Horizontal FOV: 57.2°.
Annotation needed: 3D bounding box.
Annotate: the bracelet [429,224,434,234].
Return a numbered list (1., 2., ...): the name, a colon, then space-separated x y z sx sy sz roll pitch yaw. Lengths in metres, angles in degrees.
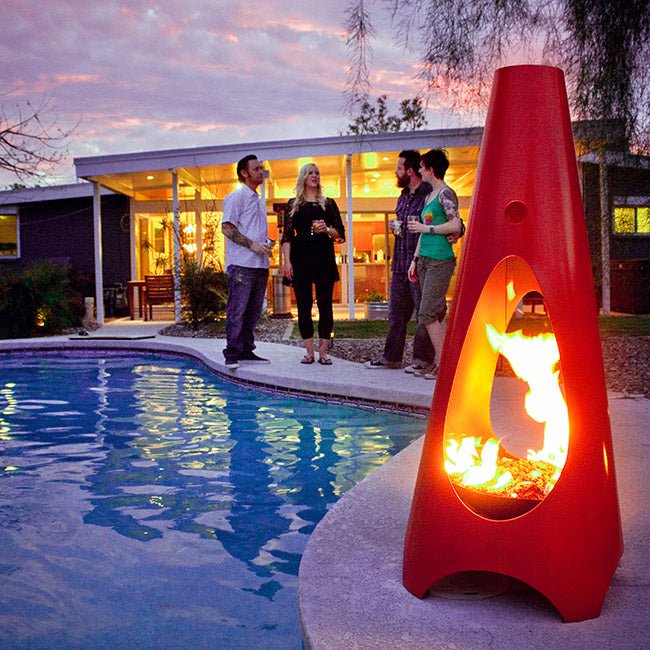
1. bracelet: 0.724 -0.652 4.034 0.032 0.041 0.047 0 -7 8

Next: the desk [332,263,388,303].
1. desk: 0.899 -1.008 13.909 1.331 1.163 0.662 0 2 -4

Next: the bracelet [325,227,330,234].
1. bracelet: 0.028 -0.779 4.935 0.035 0.033 0.030 2 1 9

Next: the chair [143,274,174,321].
1. chair: -3.600 -0.581 12.854 0.577 0.978 2.001 -2 3 -17

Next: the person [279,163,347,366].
1. person: -0.093 -0.492 5.096 0.534 1.694 0.421 -1 3 -4

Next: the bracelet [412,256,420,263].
1. bracelet: 0.660 -0.474 4.292 0.038 0.041 0.043 1 0 3

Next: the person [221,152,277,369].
1. person: -0.702 -0.554 5.269 0.433 1.835 0.582 -2 3 -9

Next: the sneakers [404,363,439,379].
1. sneakers: 0.735 0.355 4.470 0.191 0.121 0.340 -1 -5 28

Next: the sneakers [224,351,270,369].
1. sneakers: -0.706 0.316 5.414 0.406 0.153 0.133 -2 2 -14

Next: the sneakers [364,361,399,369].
1. sneakers: 0.487 0.316 5.009 0.247 0.089 0.095 5 0 14

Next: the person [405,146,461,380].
1. person: 0.767 -0.423 4.158 0.365 1.642 0.838 -1 3 8

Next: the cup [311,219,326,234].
1. cup: -0.052 -0.812 4.909 0.121 0.110 0.076 -1 3 -2

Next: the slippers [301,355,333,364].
1. slippers: -0.071 0.313 5.287 0.177 0.055 0.109 3 -2 -13
